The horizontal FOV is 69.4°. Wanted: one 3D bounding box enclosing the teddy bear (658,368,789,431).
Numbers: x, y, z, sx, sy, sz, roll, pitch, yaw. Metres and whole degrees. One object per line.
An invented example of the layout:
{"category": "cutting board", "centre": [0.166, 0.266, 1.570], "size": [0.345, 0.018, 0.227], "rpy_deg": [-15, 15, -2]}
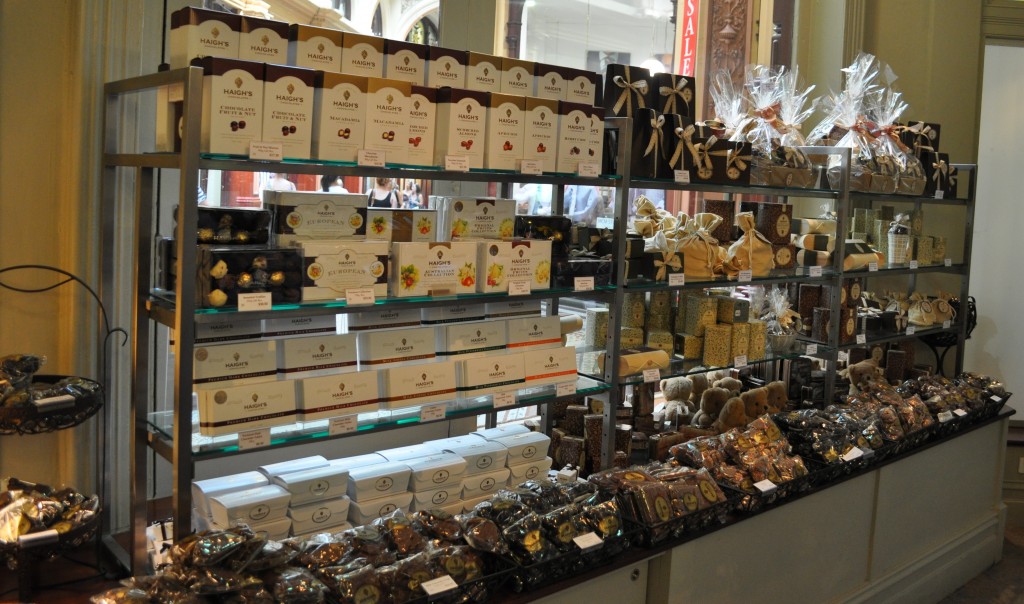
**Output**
{"category": "teddy bear", "centre": [1.317, 0.638, 4.779], "size": [0.591, 0.228, 0.553], "rpy_deg": [-2, -3, -31]}

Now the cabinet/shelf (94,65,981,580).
{"category": "cabinet/shelf", "centre": [0.062, 0.155, 3.795], "size": [3.611, 1.614, 0.680], "rpy_deg": [-4, 8, -30]}
